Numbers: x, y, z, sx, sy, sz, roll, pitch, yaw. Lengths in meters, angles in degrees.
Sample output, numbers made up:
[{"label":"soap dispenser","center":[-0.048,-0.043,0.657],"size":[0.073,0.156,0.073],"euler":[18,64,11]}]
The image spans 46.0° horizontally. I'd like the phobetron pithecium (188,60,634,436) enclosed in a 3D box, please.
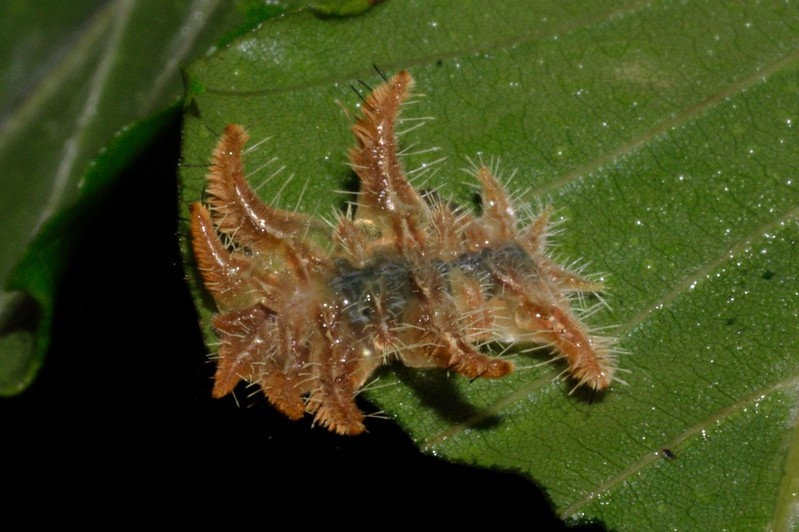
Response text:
[{"label":"phobetron pithecium","center":[-0.071,-0.014,3.753],"size":[1.433,0.374,1.253],"euler":[-11,83,0]}]
